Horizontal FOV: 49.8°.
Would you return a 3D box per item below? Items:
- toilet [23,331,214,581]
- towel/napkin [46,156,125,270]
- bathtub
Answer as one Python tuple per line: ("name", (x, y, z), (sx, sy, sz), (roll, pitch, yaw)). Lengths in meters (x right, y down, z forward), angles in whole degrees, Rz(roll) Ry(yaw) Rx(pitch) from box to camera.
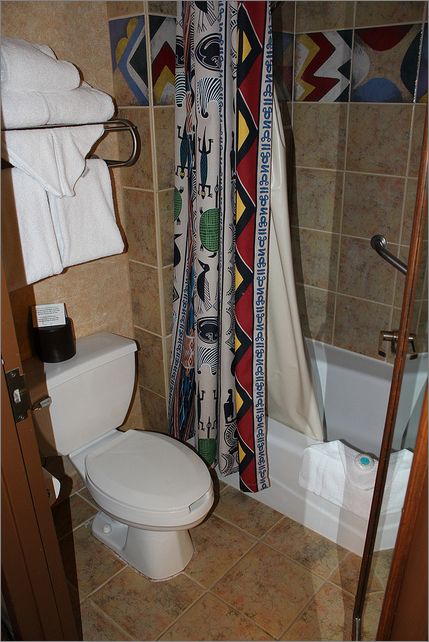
("toilet", (-0.283, 0.481, 1.543), (0.561, 0.721, 0.364), (16, 29, 29))
("towel/napkin", (-0.382, -0.313, 1.381), (0.069, 0.287, 0.241), (5, 16, 23))
("bathtub", (0.399, 0.390, 1.674), (0.524, 0.302, 0.783), (13, 21, 36))
